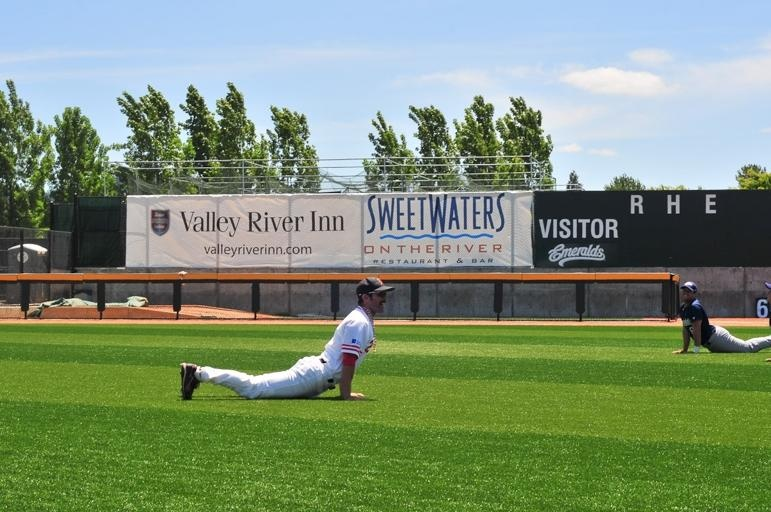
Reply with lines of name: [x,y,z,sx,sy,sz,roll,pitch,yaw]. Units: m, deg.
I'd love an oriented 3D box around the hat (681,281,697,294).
hat: [10.345,1.023,53.684,0.397,0.297,0.576,3,-17,39]
